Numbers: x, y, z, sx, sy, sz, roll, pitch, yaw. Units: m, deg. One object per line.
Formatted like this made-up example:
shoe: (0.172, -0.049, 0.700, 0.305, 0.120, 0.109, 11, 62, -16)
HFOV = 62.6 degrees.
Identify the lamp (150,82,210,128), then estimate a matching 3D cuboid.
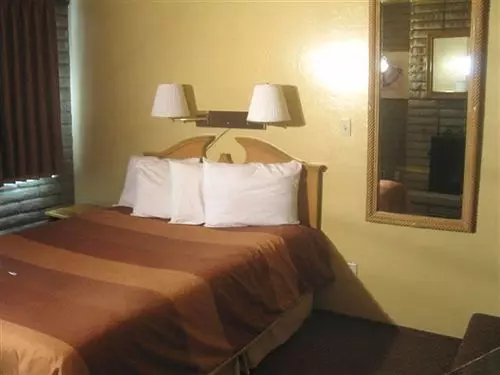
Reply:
lamp: (-0.548, -0.659, 3.253, 0.423, 0.295, 0.280, -6, 13, -31)

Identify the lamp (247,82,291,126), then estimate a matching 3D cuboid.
lamp: (0.135, -0.596, 2.919, 0.268, 0.275, 0.284, -3, 12, -9)
